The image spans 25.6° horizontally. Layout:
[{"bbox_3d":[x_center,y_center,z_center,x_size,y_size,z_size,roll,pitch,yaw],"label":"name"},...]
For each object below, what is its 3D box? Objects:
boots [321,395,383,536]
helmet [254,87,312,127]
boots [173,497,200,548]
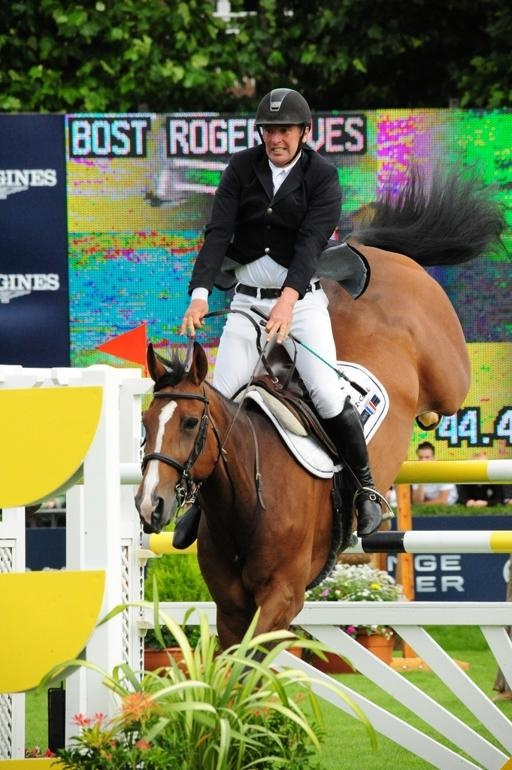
[{"bbox_3d":[0.365,0.276,3.991,0.169,0.525,0.167,-19,3,11],"label":"boots"},{"bbox_3d":[0.092,-0.950,3.879,0.206,0.129,0.165,-3,12,-20],"label":"helmet"},{"bbox_3d":[-0.250,0.455,3.812,0.049,0.171,0.113,30,-18,-32],"label":"boots"}]
